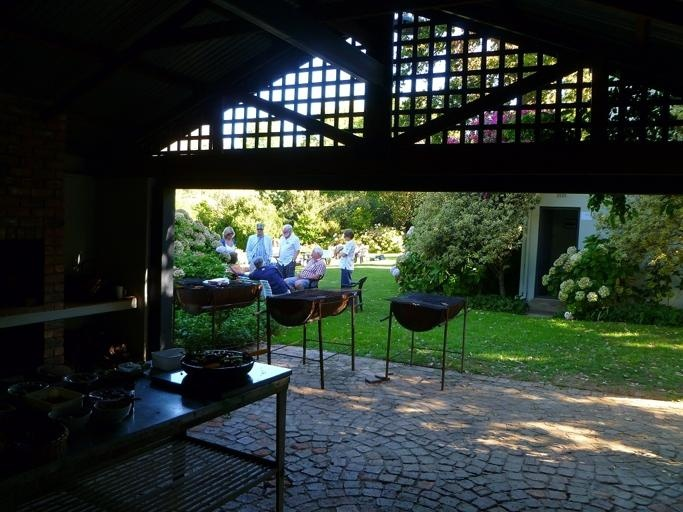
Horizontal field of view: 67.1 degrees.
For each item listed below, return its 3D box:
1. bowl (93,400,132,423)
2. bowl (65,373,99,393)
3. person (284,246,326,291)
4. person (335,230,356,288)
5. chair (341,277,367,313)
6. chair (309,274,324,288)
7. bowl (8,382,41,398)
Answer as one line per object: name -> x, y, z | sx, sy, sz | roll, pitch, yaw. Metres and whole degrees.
bowl -> -1.301, 0.881, 2.948 | 0.217, 0.085, 0.214 | 1, 7, 0
bowl -> -1.644, 0.797, 3.253 | 0.193, 0.048, 0.259 | -2, 8, -28
person -> -0.730, 0.252, 10.210 | 0.699, 0.946, 0.671 | 2, 7, 3
person -> 0.092, 0.066, 10.676 | 0.341, 1.215, 0.730 | 2, 7, 0
chair -> 0.324, 0.811, 10.835 | 0.705, 0.838, 0.572 | 0, -1, 14
chair -> -0.511, 0.515, 10.333 | 0.274, 0.315, 0.286 | 2, -3, -27
bowl -> -1.919, 0.806, 3.113 | 0.198, 0.029, 0.180 | 2, 7, 7
